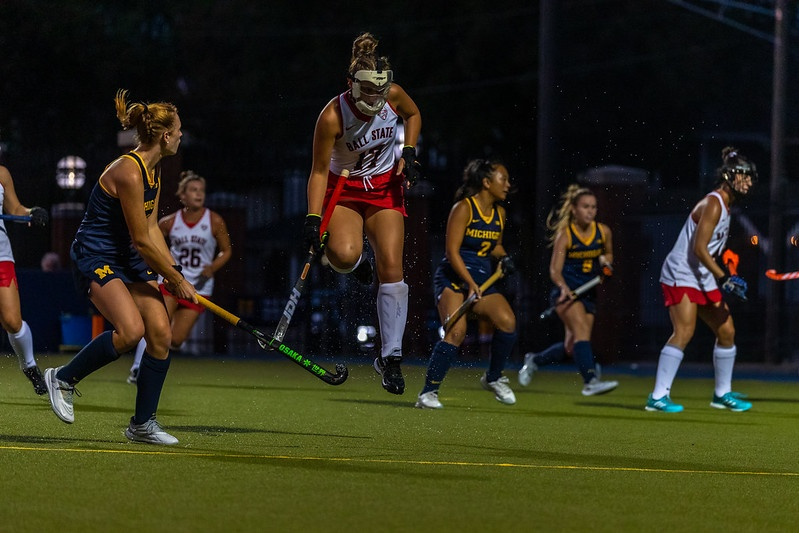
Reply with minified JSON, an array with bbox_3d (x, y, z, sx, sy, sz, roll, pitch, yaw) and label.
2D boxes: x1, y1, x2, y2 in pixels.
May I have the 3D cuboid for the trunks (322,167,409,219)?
[{"bbox_3d":[-0.214,-0.621,8.359,0.691,0.408,0.364,1,8,-5],"label":"trunks"}]

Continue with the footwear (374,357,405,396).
[{"bbox_3d":[-0.072,0.890,8.353,0.241,0.283,0.375,3,-1,-5],"label":"footwear"}]

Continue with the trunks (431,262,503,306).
[{"bbox_3d":[0.628,0.152,9.693,0.504,0.254,0.371,-1,-27,-10],"label":"trunks"}]

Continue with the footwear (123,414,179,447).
[{"bbox_3d":[-1.832,1.198,7.440,0.445,0.210,0.160,10,-6,8],"label":"footwear"}]

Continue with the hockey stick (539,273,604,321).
[{"bbox_3d":[1.943,0.326,11.363,1.027,0.153,0.157,-32,-10,10],"label":"hockey stick"}]

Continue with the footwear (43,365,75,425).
[{"bbox_3d":[-2.597,1.008,7.868,0.227,0.479,0.174,-18,-3,13],"label":"footwear"}]

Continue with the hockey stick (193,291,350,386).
[{"bbox_3d":[-1.556,0.858,12.204,1.901,0.319,0.155,32,-32,-4],"label":"hockey stick"}]

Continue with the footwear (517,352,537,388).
[{"bbox_3d":[1.441,1.162,11.495,0.193,0.441,0.165,21,1,28],"label":"footwear"}]

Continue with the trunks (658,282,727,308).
[{"bbox_3d":[2.705,0.273,9.361,0.550,0.171,0.229,3,-1,12],"label":"trunks"}]

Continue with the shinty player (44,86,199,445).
[{"bbox_3d":[-2.035,-0.038,7.597,1.057,2.619,0.545,3,-1,33],"label":"shinty player"}]

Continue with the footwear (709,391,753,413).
[{"bbox_3d":[3.224,1.310,9.812,0.357,0.147,0.184,-2,2,31],"label":"footwear"}]

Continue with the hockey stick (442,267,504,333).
[{"bbox_3d":[0.625,0.372,9.461,0.070,0.230,1.362,-25,-14,-34],"label":"hockey stick"}]

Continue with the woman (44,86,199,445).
[{"bbox_3d":[-2.031,-0.038,7.596,1.049,2.619,0.547,3,-1,33],"label":"woman"}]

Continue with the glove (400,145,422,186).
[{"bbox_3d":[0.081,-0.823,8.264,0.188,0.299,0.082,6,-21,-38],"label":"glove"}]

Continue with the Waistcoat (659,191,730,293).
[{"bbox_3d":[2.700,-0.059,9.407,0.448,0.289,0.549,24,27,9],"label":"Waistcoat"}]

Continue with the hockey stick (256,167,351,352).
[{"bbox_3d":[-0.654,-0.091,8.299,0.303,0.228,2.108,17,-37,-7],"label":"hockey stick"}]

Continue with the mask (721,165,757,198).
[{"bbox_3d":[3.131,-0.797,9.393,0.294,0.263,0.267,-3,7,-11],"label":"mask"}]

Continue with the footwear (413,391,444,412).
[{"bbox_3d":[0.272,1.255,9.487,0.118,0.127,0.291,6,-10,-29],"label":"footwear"}]
